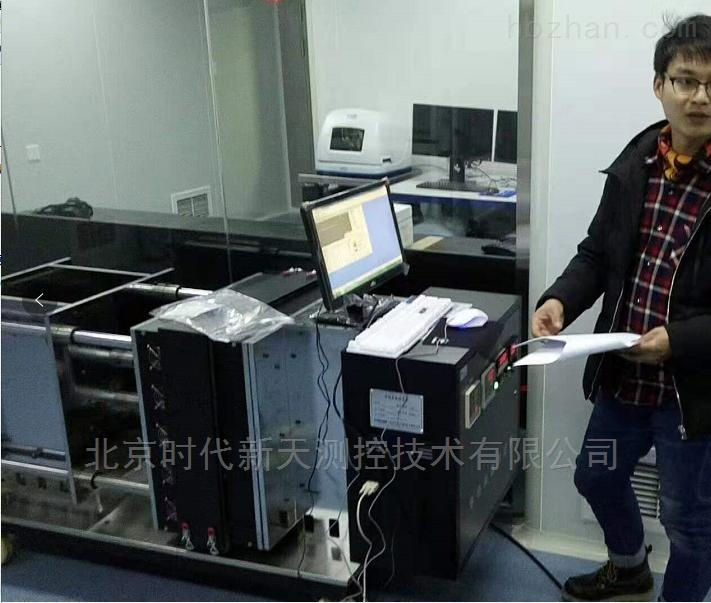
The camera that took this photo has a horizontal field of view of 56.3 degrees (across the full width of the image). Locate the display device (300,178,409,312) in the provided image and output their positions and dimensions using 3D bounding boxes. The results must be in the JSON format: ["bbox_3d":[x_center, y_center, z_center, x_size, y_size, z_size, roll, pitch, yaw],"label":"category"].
[{"bbox_3d":[0.005,-0.186,2.179,0.062,0.323,0.409,-1,24,36],"label":"display device"}]

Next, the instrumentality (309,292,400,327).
[{"bbox_3d":[0.023,0.022,2.103,0.132,0.057,0.182,13,29,33],"label":"instrumentality"}]

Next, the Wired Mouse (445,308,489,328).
[{"bbox_3d":[0.344,0.050,2.005,0.098,0.038,0.061,2,14,-23],"label":"Wired Mouse"}]

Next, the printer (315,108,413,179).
[{"bbox_3d":[0.027,-0.611,2.558,0.380,0.252,0.065,3,15,24],"label":"printer"}]

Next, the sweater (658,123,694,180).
[{"bbox_3d":[0.875,-0.413,1.865,0.091,0.125,0.092,-5,-22,7],"label":"sweater"}]
